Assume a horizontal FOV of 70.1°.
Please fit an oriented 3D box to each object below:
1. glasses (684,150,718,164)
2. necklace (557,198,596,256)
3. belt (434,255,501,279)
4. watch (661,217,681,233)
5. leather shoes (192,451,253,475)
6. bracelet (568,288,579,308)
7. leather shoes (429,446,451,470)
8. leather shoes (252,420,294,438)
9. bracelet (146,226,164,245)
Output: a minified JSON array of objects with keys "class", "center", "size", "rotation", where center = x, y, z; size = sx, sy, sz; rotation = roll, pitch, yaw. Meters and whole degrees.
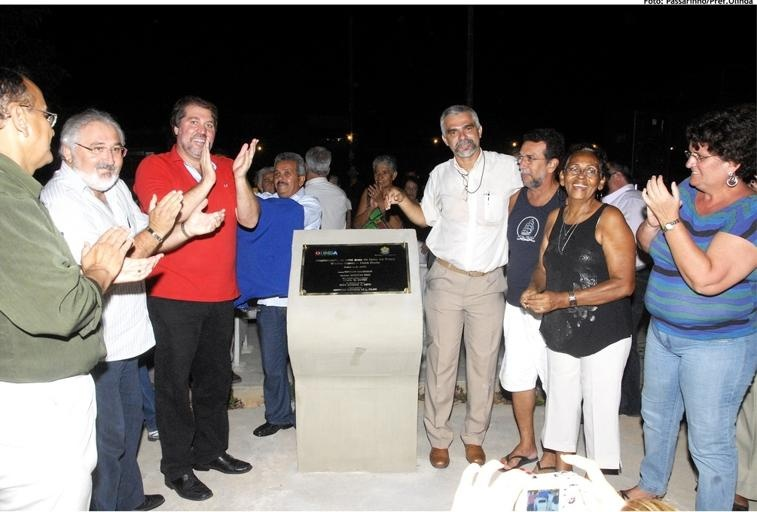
[{"class":"glasses","center":[2.137,-0.663,3.537],"size":[0.123,0.034,0.114],"rotation":[6,14,-5]},{"class":"necklace","center":[1.465,-0.192,4.005],"size":[0.168,0.366,0.383],"rotation":[-7,9,-36]},{"class":"belt","center":[0.711,0.121,4.636],"size":[0.291,0.101,0.257],"rotation":[25,-6,-23]},{"class":"watch","center":[1.920,-0.216,3.545],"size":[0.105,0.063,0.098],"rotation":[-33,-26,30]},{"class":"leather shoes","center":[-1.279,1.760,4.542],"size":[0.517,0.202,0.185],"rotation":[1,3,-5]},{"class":"bracelet","center":[1.389,0.305,3.853],"size":[0.070,0.101,0.105],"rotation":[3,-7,16]},{"class":"leather shoes","center":[0.521,1.710,4.585],"size":[0.171,0.125,0.152],"rotation":[0,7,6]},{"class":"leather shoes","center":[-1.007,1.640,5.177],"size":[0.392,0.152,0.137],"rotation":[3,2,-15]},{"class":"bracelet","center":[-1.457,-0.140,3.508],"size":[0.033,0.108,0.103],"rotation":[-42,21,-13]}]
